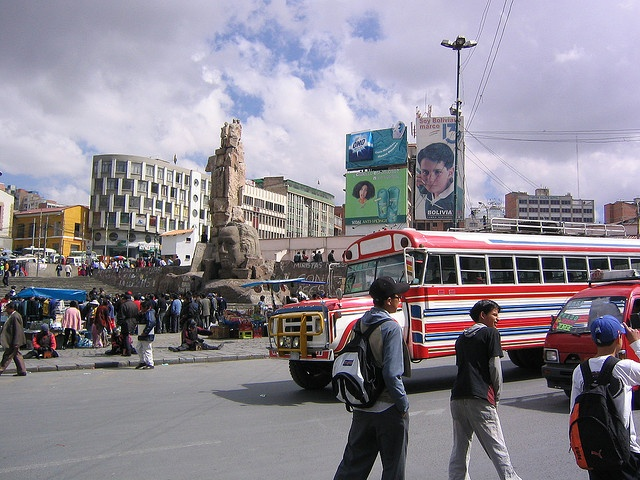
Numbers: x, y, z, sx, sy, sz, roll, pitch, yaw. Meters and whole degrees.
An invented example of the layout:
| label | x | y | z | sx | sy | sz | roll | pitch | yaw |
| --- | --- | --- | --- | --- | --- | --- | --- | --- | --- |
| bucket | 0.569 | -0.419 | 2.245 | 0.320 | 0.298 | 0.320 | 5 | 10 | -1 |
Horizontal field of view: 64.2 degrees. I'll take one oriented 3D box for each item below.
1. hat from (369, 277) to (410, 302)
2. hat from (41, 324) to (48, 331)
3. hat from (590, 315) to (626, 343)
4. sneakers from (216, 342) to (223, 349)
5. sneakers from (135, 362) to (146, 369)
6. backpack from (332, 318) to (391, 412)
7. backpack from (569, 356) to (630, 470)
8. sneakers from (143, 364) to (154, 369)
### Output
| label | x | y | z | sx | sy | sz | roll | pitch | yaw |
| --- | --- | --- | --- | --- | --- | --- | --- | --- | --- |
| hat | 0.727 | 0.487 | 5.174 | 0.354 | 0.193 | 0.229 | -27 | 23 | -15 |
| hat | -8.797 | 2.773 | 16.217 | 0.158 | 0.179 | 0.220 | 9 | 4 | -13 |
| hat | 2.751 | 0.852 | 4.845 | 0.202 | 0.182 | 0.330 | -4 | 20 | 42 |
| sneakers | -3.543 | 3.789 | 18.014 | 0.176 | 0.231 | 0.580 | -3 | -31 | -7 |
| sneakers | -5.124 | 3.588 | 14.553 | 0.141 | 0.179 | 0.402 | 6 | -20 | -12 |
| backpack | 0.397 | 1.192 | 4.832 | 0.528 | 0.874 | 0.243 | -1 | -5 | 12 |
| backpack | 2.485 | 1.537 | 4.495 | 0.471 | 0.974 | 0.342 | -2 | -5 | 26 |
| sneakers | -4.847 | 3.574 | 14.374 | 0.287 | 0.104 | 0.130 | 2 | -5 | -21 |
